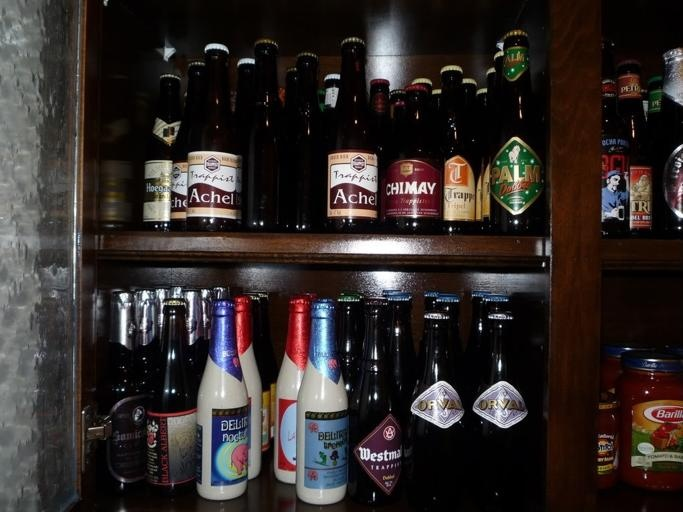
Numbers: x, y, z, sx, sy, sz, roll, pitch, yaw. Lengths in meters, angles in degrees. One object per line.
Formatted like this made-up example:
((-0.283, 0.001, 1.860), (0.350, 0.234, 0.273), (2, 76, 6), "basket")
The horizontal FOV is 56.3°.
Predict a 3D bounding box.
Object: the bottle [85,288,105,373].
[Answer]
((-0.485, 0.148, 1.280), (0.028, 0.168, 0.121), (0, -2, -18), "bottle")
